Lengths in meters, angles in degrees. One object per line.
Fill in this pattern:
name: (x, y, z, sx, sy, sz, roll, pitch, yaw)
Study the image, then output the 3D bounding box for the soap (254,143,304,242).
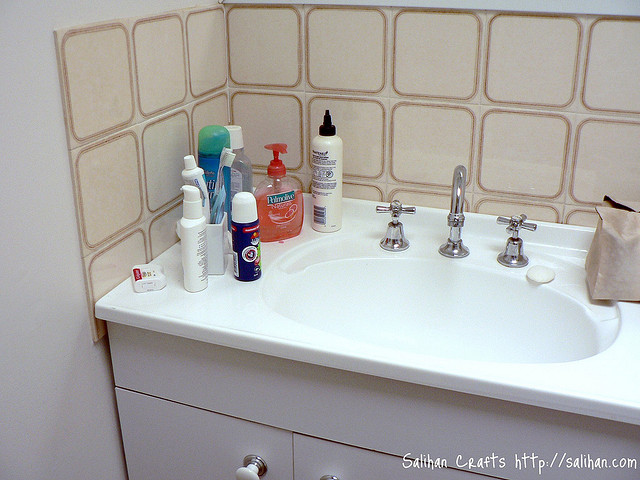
soap: (-0.095, -0.095, 1.260, 0.099, 0.265, 0.117, 7, 27, 10)

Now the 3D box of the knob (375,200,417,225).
knob: (0.200, -0.069, 1.280, 0.090, 0.071, 0.026, 4, 38, 12)

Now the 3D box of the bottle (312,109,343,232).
bottle: (0.020, -0.173, 1.251, 0.074, 0.318, 0.080, 0, 29, 0)

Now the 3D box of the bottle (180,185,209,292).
bottle: (-0.257, 0.001, 1.039, 0.052, 0.222, 0.086, 2, 4, -4)

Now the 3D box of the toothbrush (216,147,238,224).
toothbrush: (-0.212, -0.120, 1.100, 0.036, 0.167, 0.083, 4, 4, 10)

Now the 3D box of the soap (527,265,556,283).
soap: (0.505, 0.080, 1.135, 0.059, 0.034, 0.060, 5, 4, 26)

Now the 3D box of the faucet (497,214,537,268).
faucet: (0.457, 0.008, 1.176, 0.096, 0.130, 0.097, -3, 19, 18)

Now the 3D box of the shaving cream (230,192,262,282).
shaving cream: (-0.157, -0.005, 1.069, 0.061, 0.188, 0.061, -17, 24, -40)

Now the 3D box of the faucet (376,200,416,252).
faucet: (0.188, -0.022, 1.285, 0.079, 0.143, 0.099, 8, 22, 26)

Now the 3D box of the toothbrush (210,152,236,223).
toothbrush: (-0.218, -0.119, 1.093, 0.051, 0.153, 0.054, -9, 33, -28)

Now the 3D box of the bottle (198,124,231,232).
bottle: (-0.250, -0.120, 1.246, 0.079, 0.335, 0.078, 0, 26, 0)

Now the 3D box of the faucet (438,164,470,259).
faucet: (0.329, -0.066, 1.194, 0.063, 0.217, 0.101, 0, 12, 9)

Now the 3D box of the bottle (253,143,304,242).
bottle: (-0.092, -0.091, 1.238, 0.099, 0.265, 0.117, 7, 27, 10)
